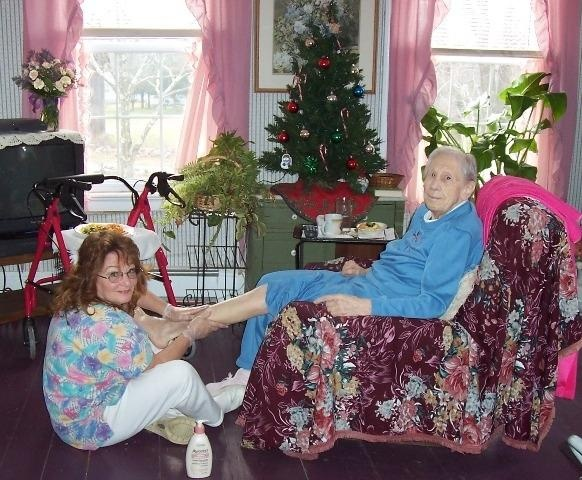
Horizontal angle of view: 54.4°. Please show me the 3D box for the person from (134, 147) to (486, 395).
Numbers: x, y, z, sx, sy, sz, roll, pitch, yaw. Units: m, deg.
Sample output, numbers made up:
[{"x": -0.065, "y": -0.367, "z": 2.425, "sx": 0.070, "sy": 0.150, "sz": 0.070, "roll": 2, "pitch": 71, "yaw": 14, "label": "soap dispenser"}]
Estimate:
[{"x": 0.196, "y": 0.140, "z": 2.980, "sx": 1.525, "sy": 1.267, "sz": 0.830, "roll": 3, "pitch": -14, "yaw": 14, "label": "person"}]

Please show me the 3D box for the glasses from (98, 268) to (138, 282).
[{"x": -0.755, "y": 0.155, "z": 2.493, "sx": 0.185, "sy": 0.058, "sz": 0.046, "roll": -11, "pitch": 18, "yaw": -40, "label": "glasses"}]

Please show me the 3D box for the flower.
[{"x": -1.694, "y": -0.997, "z": 3.954, "sx": 0.302, "sy": 0.415, "sz": 0.361, "roll": 7, "pitch": 19, "yaw": 25, "label": "flower"}]

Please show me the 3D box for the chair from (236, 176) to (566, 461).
[{"x": 0.519, "y": 0.277, "z": 2.872, "sx": 1.271, "sy": 1.279, "sz": 1.026, "roll": -1, "pitch": 6, "yaw": 2, "label": "chair"}]

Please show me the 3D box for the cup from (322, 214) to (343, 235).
[{"x": 0.262, "y": -0.098, "z": 3.552, "sx": 0.125, "sy": 0.146, "sz": 0.089, "roll": -3, "pitch": 11, "yaw": -8, "label": "cup"}]

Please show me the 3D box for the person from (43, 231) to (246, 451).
[{"x": -0.712, "y": 0.445, "z": 2.648, "sx": 0.739, "sy": 0.989, "sz": 0.581, "roll": 3, "pitch": 13, "yaw": 7, "label": "person"}]

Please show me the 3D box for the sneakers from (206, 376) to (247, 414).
[{"x": -0.332, "y": 0.804, "z": 2.949, "sx": 0.177, "sy": 0.180, "sz": 0.078, "roll": -21, "pitch": -16, "yaw": -17, "label": "sneakers"}]
